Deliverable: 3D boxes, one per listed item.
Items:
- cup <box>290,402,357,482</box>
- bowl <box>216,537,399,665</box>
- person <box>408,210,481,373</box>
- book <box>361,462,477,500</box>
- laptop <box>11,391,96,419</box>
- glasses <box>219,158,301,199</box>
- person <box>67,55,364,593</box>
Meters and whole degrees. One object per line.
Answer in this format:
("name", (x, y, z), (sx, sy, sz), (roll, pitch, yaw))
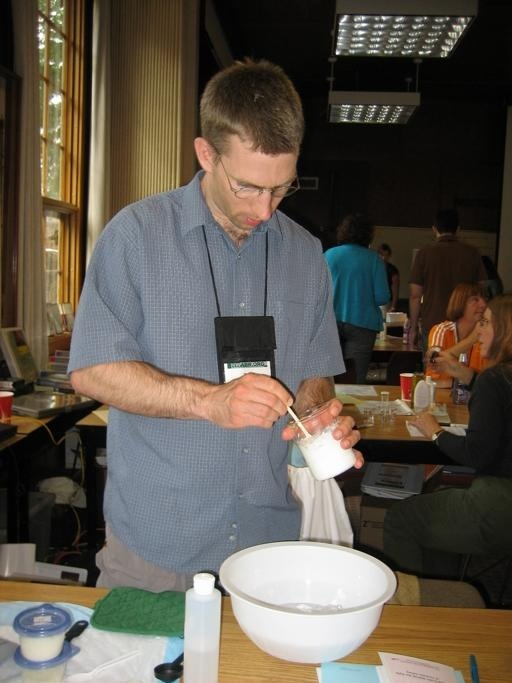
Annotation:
("cup", (0.119, 0.187, 1.105), (0.097, 0.154, 0.163), (-30, 0, -4))
("bowl", (0.074, 0.371, 0.814), (0.242, 0.114, 0.240), (1, 8, 0))
("person", (1.652, -0.340, 4.951), (0.621, 1.588, 0.465), (-3, 18, -2))
("book", (0.758, 0.695, 2.804), (0.403, 0.088, 0.381), (-1, 3, 12))
("laptop", (-0.989, 0.311, 2.734), (0.282, 0.067, 0.295), (3, 4, 26))
("glasses", (0.016, -0.302, 1.052), (0.151, 0.072, 0.074), (-3, 9, -27))
("person", (-0.053, -0.011, 1.132), (0.612, 1.068, 0.525), (-2, 9, -21))
